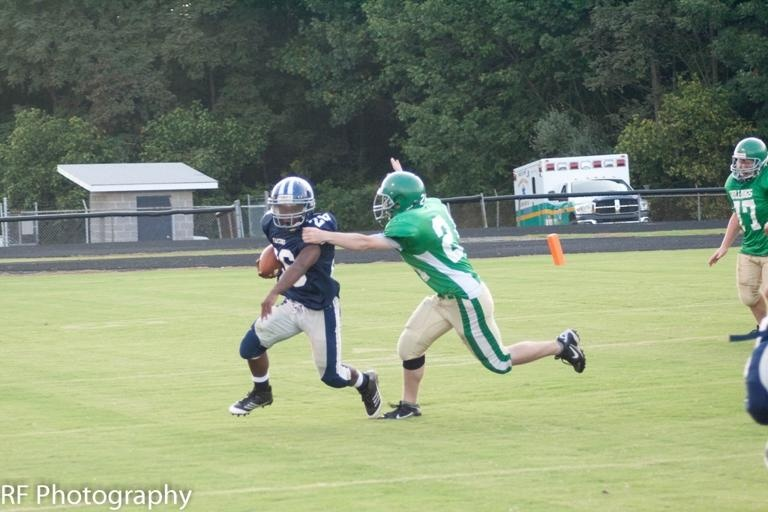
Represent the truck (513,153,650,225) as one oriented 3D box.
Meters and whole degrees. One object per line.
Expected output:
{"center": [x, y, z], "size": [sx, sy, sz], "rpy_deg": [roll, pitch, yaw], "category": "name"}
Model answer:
{"center": [7.023, -2.386, 53.093], "size": [2.930, 1.970, 4.531], "rpy_deg": [-1, -2, -12], "category": "truck"}
